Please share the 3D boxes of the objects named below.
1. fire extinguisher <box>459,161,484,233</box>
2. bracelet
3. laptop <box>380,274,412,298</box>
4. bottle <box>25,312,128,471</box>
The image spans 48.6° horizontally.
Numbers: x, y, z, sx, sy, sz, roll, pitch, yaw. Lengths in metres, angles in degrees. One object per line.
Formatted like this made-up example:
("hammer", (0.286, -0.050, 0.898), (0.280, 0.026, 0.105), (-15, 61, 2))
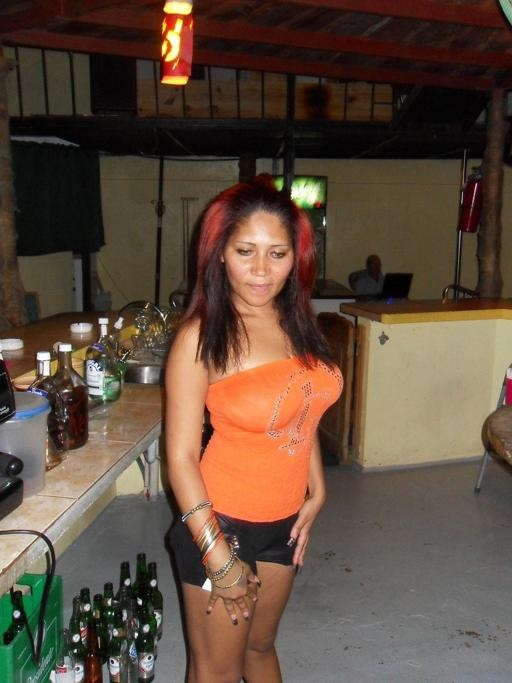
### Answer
("fire extinguisher", (1.803, -1.171, 4.698), (0.164, 0.512, 0.144), (-13, 27, -32))
("bracelet", (-0.079, 0.358, 1.066), (0.117, 0.143, 0.105), (-3, 13, -28))
("laptop", (1.597, -0.628, 6.536), (0.313, 0.309, 0.288), (4, 10, 11))
("bottle", (-0.522, 0.142, 1.588), (0.169, 0.550, 0.243), (3, 8, 13))
